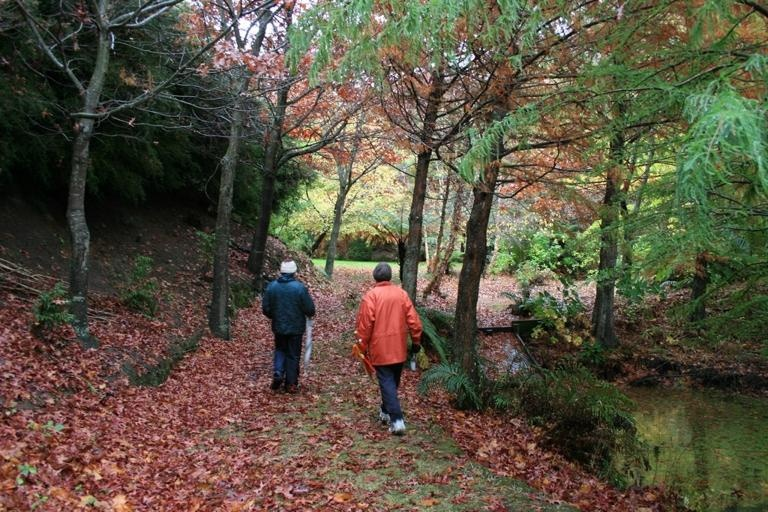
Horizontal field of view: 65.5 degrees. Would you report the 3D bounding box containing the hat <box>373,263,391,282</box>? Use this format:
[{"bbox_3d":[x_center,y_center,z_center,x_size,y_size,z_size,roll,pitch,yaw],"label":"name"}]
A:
[{"bbox_3d":[-0.021,0.248,10.064,0.302,0.307,0.316,2,17,-8],"label":"hat"}]

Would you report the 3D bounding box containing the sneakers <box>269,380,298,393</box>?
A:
[{"bbox_3d":[-1.879,2.439,11.308,0.580,0.231,0.208,1,-2,15],"label":"sneakers"}]

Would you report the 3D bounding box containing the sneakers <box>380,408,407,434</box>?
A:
[{"bbox_3d":[0.113,2.719,9.869,0.213,0.233,0.562,1,3,-14],"label":"sneakers"}]

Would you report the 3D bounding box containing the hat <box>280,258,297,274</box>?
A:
[{"bbox_3d":[-1.809,0.180,11.253,0.269,0.189,0.260,1,10,9],"label":"hat"}]
